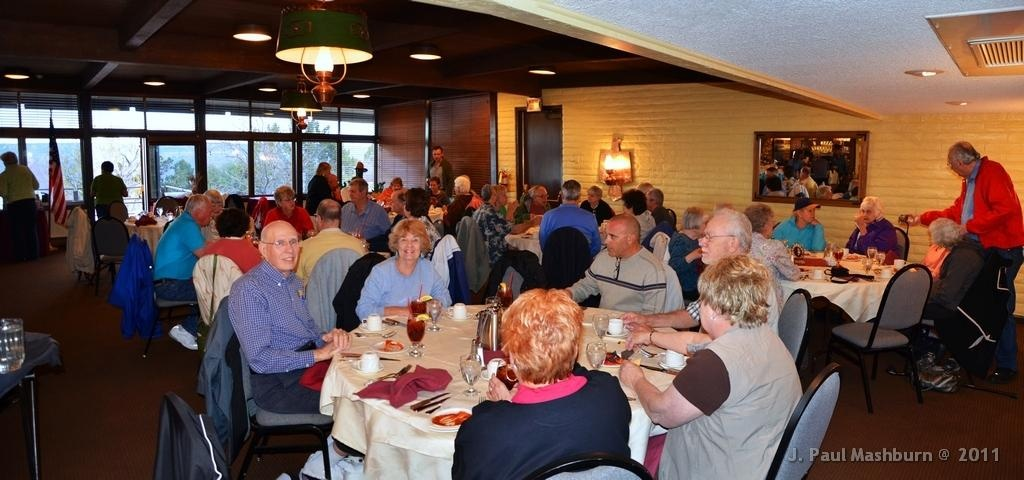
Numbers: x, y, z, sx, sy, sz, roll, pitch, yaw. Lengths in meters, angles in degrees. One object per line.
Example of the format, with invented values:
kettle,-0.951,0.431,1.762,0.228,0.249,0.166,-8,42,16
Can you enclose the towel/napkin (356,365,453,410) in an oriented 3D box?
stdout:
towel/napkin,-0.938,1.306,5.292,0.508,0.127,0.464,-3,12,-44

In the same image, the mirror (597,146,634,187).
mirror,2.218,-1.549,12.384,1.164,0.937,0.118,-1,-9,28

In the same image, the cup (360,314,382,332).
cup,-1.469,0.849,6.117,0.238,0.160,0.146,-1,8,-17

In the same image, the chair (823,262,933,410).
chair,4.606,1.166,7.293,1.086,1.754,0.511,-3,9,-12

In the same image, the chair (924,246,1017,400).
chair,5.759,0.945,7.548,1.047,1.897,0.551,1,9,10

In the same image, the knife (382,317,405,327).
knife,-1.262,0.856,6.237,0.320,0.022,0.080,8,20,33

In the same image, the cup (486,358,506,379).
cup,-0.136,1.165,5.384,0.202,0.145,0.177,0,-7,0

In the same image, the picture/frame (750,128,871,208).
picture/frame,5.384,-1.272,10.427,1.976,1.141,0.101,2,4,35

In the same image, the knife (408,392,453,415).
knife,-0.712,1.438,5.220,0.122,0.033,0.420,26,28,35

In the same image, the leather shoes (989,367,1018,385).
leather shoes,6.394,1.757,7.647,0.465,0.146,0.158,-1,1,-27

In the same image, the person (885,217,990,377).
person,5.657,0.678,7.809,0.928,1.844,0.865,15,31,35

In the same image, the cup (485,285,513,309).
cup,-0.160,0.577,6.137,0.266,0.246,0.288,2,-8,0

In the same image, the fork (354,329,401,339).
fork,-1.377,0.956,6.016,0.448,0.061,0.052,1,42,0
